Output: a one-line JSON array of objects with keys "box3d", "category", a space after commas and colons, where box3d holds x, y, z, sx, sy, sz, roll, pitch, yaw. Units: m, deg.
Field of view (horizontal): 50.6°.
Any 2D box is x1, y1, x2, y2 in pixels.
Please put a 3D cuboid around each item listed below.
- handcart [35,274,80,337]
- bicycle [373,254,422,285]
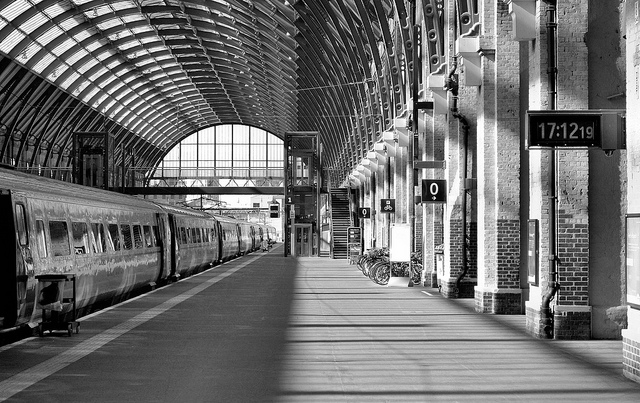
[{"box3d": [-6.293, 2.367, 15.918, 1.235, 1.512, 1.183, 0, -3, 4], "category": "handcart"}, {"box3d": [3.243, 2.874, 28.081, 1.960, 1.319, 1.062, 0, 1, -2], "category": "bicycle"}]
